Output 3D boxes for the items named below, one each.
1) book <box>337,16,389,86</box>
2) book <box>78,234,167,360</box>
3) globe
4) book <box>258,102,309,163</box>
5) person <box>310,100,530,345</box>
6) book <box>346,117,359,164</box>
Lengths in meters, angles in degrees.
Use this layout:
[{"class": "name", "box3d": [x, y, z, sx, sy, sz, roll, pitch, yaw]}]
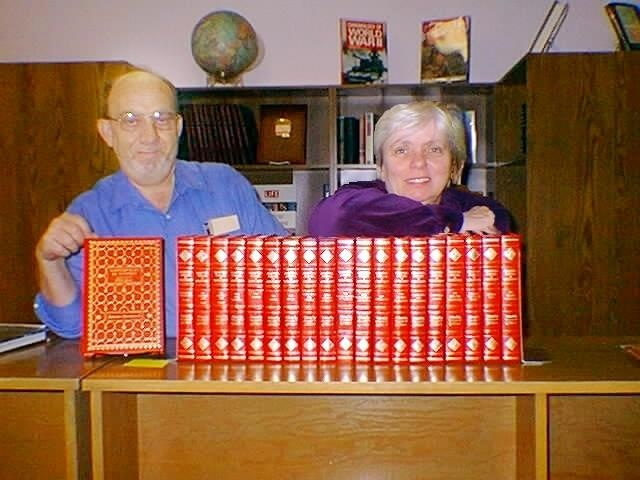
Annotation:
[{"class": "book", "box3d": [0.264, -1.116, 4.116, 0.264, 0.381, 0.096, -1, 8, -1]}, {"class": "book", "box3d": [-0.635, 0.181, 2.188, 0.330, 0.354, 0.107, 1, -3, -2]}, {"class": "globe", "box3d": [-0.455, -1.105, 4.076, 0.473, 0.433, 0.449, 0, 9, 4]}, {"class": "book", "box3d": [-0.216, -0.628, 4.095, 0.476, 0.358, 0.103, 0, -2, -2]}, {"class": "person", "box3d": [0.340, -0.100, 2.742, 0.901, 0.851, 0.549, 0, -20, 1]}, {"class": "book", "box3d": [0.188, -0.573, 3.989, 0.059, 0.205, 0.228, 4, 10, 13]}]
